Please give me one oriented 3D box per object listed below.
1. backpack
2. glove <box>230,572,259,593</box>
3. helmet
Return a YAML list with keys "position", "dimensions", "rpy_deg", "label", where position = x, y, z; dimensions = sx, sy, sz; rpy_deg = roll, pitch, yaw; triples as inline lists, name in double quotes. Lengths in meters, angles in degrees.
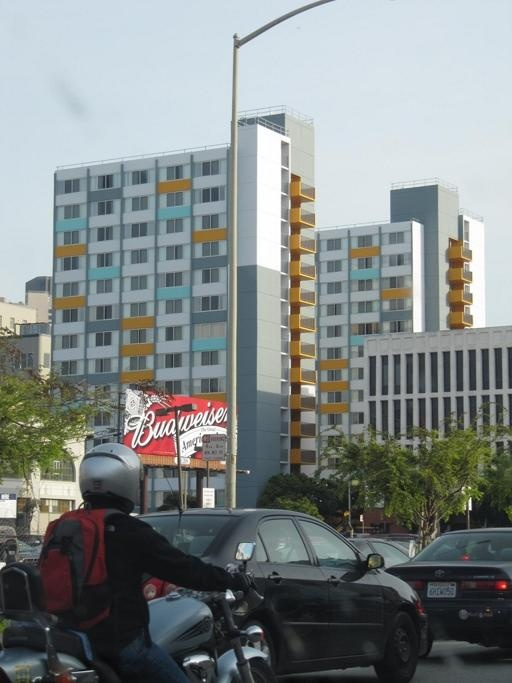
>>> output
- position: [-0.690, 0.887, 5.255]
  dimensions: [0.321, 0.456, 0.230]
  rpy_deg: [0, -6, -7]
  label: "backpack"
- position: [-0.054, 1.002, 5.591]
  dimensions: [0.066, 0.046, 0.171]
  rpy_deg: [-3, -16, 9]
  label: "glove"
- position: [-0.633, 0.562, 5.605]
  dimensions: [0.234, 0.261, 0.320]
  rpy_deg: [4, 3, 8]
  label: "helmet"
